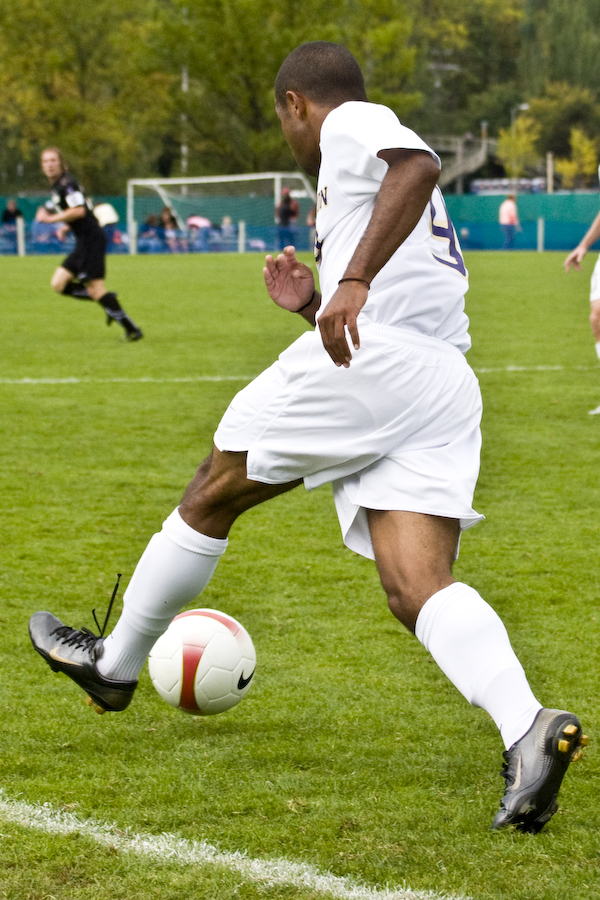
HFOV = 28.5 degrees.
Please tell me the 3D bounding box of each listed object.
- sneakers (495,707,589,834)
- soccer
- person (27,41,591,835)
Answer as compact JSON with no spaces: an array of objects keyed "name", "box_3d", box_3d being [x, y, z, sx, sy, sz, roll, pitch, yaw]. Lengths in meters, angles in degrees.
[{"name":"sneakers","box_3d":[0.391,0.549,2.033,0.134,0.257,0.096,9,37,-5]},{"name":"soccer","box_3d":[-0.217,0.448,2.549,0.250,0.207,0.227,-1,-4,-3]},{"name":"person","box_3d":[0.102,-0.088,2.313,1.101,1.464,0.456,7,10,35]}]
